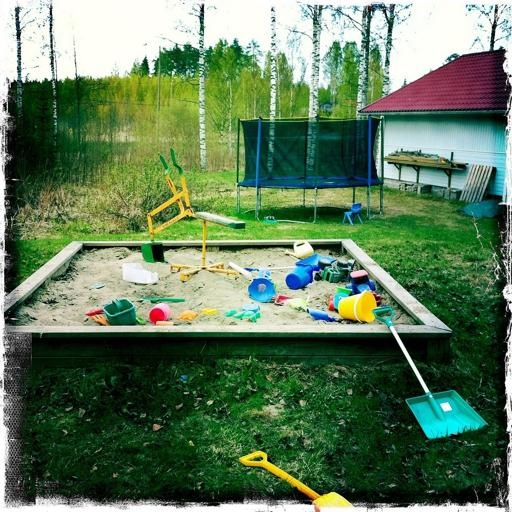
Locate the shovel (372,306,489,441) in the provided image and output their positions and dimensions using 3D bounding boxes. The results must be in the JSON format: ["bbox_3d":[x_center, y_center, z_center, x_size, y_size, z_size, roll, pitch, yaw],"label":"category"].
[{"bbox_3d":[1.073,0.750,3.526,0.364,0.083,1.045,-12,44,-9],"label":"shovel"}]

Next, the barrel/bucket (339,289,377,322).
[{"bbox_3d":[0.814,0.427,4.156,0.304,0.229,0.287,1,13,0],"label":"barrel/bucket"}]

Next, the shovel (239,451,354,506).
[{"bbox_3d":[0.191,1.190,2.735,0.683,0.085,0.200,15,15,43],"label":"shovel"}]

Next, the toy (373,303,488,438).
[{"bbox_3d":[1.084,0.749,3.549,0.383,0.092,1.089,-15,41,-4],"label":"toy"}]

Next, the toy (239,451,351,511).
[{"bbox_3d":[0.176,1.190,2.740,0.199,0.095,0.734,-5,13,-38],"label":"toy"}]
